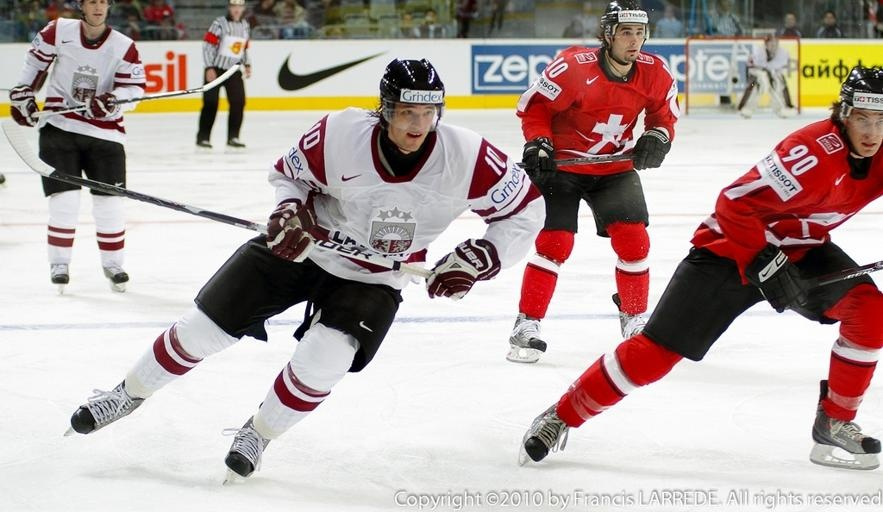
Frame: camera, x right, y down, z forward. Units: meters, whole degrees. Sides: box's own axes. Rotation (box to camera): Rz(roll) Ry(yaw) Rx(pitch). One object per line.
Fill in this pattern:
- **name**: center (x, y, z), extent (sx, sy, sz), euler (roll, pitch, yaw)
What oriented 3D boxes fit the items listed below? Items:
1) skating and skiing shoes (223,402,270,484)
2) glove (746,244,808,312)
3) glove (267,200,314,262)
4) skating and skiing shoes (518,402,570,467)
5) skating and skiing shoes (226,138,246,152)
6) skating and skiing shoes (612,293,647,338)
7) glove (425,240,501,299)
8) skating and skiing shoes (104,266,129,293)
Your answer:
- **skating and skiing shoes**: center (-0.871, 0.863, 4.186), extent (0.193, 0.117, 0.302), euler (35, 30, -9)
- **glove**: center (1.505, 0.099, 4.206), extent (0.340, 0.217, 0.101), euler (45, 0, -5)
- **glove**: center (-0.667, -0.120, 4.055), extent (0.119, 0.236, 0.245), euler (15, 26, -16)
- **skating and skiing shoes**: center (0.494, 0.842, 4.355), extent (0.160, 0.309, 0.140), euler (50, -27, -22)
- **skating and skiing shoes**: center (-2.429, -1.359, 11.078), extent (0.301, 0.094, 0.118), euler (7, -16, -19)
- **skating and skiing shoes**: center (1.106, 0.394, 5.430), extent (0.141, 0.353, 0.162), euler (-6, -2, -14)
- **glove**: center (0.121, 0.077, 4.207), extent (0.210, 0.355, 0.143), euler (62, 5, 33)
- **skating and skiing shoes**: center (-2.161, 0.149, 6.101), extent (0.098, 0.104, 0.241), euler (-12, 61, -44)
